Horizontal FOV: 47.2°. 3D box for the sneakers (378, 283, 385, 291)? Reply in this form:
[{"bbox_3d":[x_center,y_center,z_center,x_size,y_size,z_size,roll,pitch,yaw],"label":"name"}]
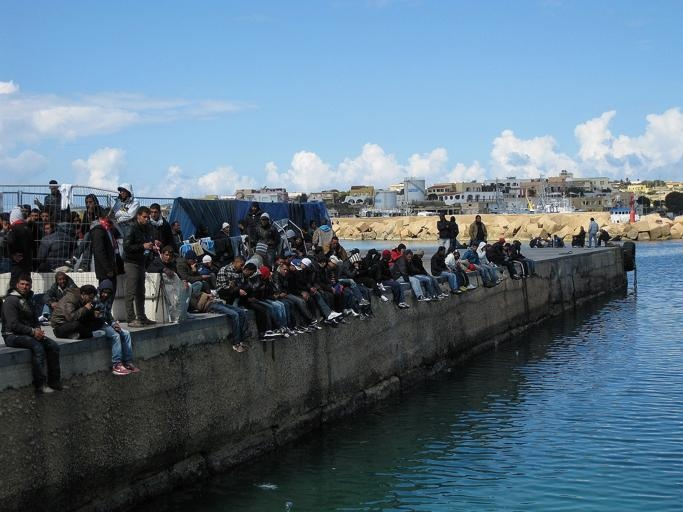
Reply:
[{"bbox_3d":[1.029,0.821,20.532,0.087,0.123,0.274,15,30,-21],"label":"sneakers"}]

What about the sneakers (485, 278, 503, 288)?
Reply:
[{"bbox_3d":[5.345,0.936,27.652,0.454,0.197,0.147,-31,17,-11],"label":"sneakers"}]

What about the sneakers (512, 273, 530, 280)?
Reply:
[{"bbox_3d":[6.939,0.771,30.447,0.517,0.221,0.158,-16,13,-30],"label":"sneakers"}]

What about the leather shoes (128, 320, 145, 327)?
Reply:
[{"bbox_3d":[-3.662,1.200,13.883,0.286,0.126,0.108,-3,-2,34],"label":"leather shoes"}]

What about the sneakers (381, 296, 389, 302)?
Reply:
[{"bbox_3d":[1.078,1.122,20.405,0.111,0.132,0.180,-9,9,-33],"label":"sneakers"}]

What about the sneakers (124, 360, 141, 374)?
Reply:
[{"bbox_3d":[-3.498,1.867,13.087,0.314,0.130,0.108,6,7,27],"label":"sneakers"}]

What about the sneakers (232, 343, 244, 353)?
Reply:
[{"bbox_3d":[-2.081,1.819,15.483,0.262,0.118,0.113,3,14,35],"label":"sneakers"}]

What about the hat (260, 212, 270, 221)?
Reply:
[{"bbox_3d":[-2.051,-1.042,20.649,0.270,0.238,0.374,5,-2,0],"label":"hat"}]

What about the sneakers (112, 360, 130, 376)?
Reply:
[{"bbox_3d":[-3.677,1.880,12.977,0.326,0.161,0.148,0,1,39],"label":"sneakers"}]

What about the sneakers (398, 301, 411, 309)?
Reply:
[{"bbox_3d":[1.701,1.358,21.367,0.380,0.166,0.141,1,14,-4],"label":"sneakers"}]

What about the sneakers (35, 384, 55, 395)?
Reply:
[{"bbox_3d":[-4.559,2.047,11.987,0.269,0.191,0.091,-2,19,-8],"label":"sneakers"}]
